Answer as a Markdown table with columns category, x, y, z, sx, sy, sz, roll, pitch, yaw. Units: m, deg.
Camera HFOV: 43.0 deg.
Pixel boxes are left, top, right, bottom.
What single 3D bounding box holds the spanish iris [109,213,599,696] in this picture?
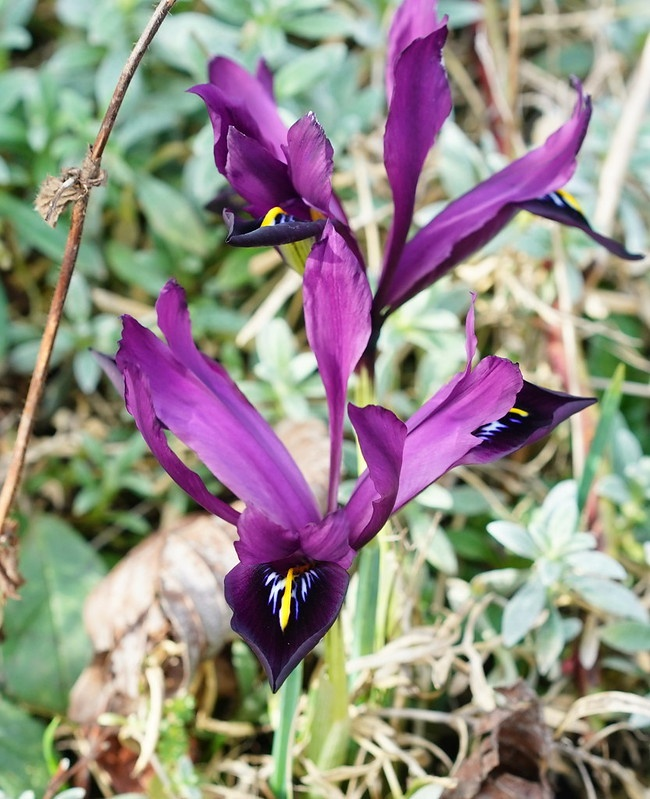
| category | x | y | z | sx | sy | sz | roll | pitch | yaw |
| --- | --- | --- | --- | --- | --- | --- | --- | --- | --- |
| spanish iris | 0.006 | 0.012 | 0.823 | 0.431 | 0.357 | 0.364 | -5 | 11 | -34 |

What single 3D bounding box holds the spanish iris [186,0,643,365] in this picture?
| category | x | y | z | sx | sy | sz | roll | pitch | yaw |
| --- | --- | --- | --- | --- | --- | --- | --- | --- | --- |
| spanish iris | 0.057 | -0.200 | 0.936 | 0.486 | 0.385 | 0.407 | 3 | 28 | -11 |
